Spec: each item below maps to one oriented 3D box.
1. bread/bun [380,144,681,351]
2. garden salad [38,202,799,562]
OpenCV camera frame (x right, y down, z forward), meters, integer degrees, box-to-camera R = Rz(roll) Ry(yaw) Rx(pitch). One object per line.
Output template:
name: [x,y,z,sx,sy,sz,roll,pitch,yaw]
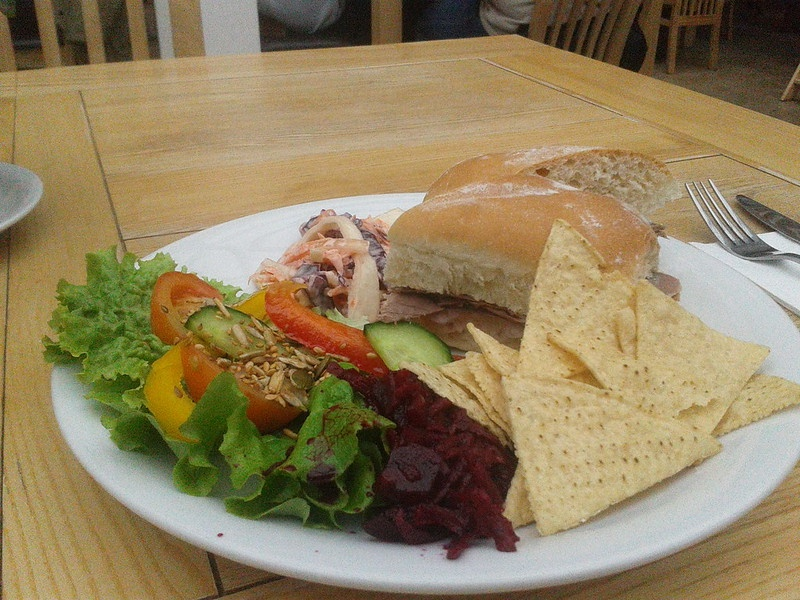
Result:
bread/bun: [0.382,-0.109,1.479,0.516,0.192,0.667,19,46,42]
garden salad: [-0.102,0.180,1.094,0.870,0.087,0.700,-1,27,-1]
